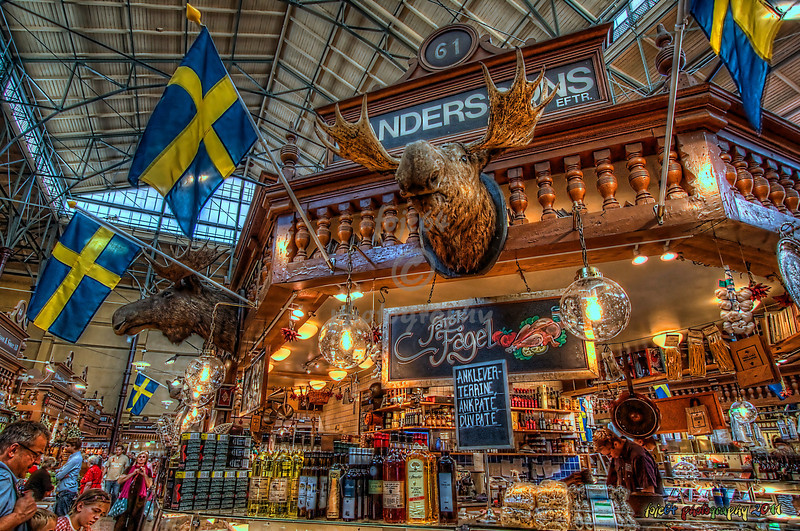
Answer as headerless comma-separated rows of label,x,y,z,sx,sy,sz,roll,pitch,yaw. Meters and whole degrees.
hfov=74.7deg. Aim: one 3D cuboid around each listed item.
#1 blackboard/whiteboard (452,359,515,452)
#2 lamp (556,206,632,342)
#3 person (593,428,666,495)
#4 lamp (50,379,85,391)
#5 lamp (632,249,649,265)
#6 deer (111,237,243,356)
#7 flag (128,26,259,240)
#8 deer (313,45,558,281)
blackboard/whiteboard,0.792,1.385,5.172,0.580,0.813,0.337,-8,-29,15
lamp,1.909,0.026,5.399,0.653,1.434,0.607,-12,-30,22
person,3.114,2.665,7.144,0.728,0.859,1.083,0,-28,-1
lamp,-10.966,3.925,17.209,1.095,0.282,1.221,1,-10,4
lamp,2.701,-0.114,5.914,0.120,0.112,0.119,-25,10,1
deer,-3.104,0.618,7.808,2.024,1.911,1.104,-2,-1,-29
flag,-2.471,-1.599,6.386,1.254,2.634,0.937,12,-30,-22
deer,0.390,-0.922,5.357,2.476,1.858,1.217,-8,-16,25
